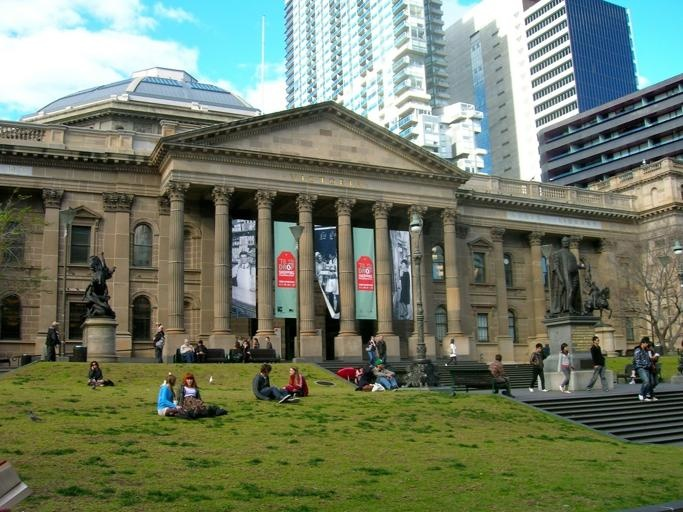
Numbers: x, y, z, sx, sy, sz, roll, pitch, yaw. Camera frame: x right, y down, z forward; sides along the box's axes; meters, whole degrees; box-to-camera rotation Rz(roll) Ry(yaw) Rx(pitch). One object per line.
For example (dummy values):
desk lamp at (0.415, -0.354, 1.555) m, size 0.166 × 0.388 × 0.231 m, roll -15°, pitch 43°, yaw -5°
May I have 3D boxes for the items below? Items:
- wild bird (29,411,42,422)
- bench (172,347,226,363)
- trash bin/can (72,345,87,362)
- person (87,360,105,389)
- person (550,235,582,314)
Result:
wild bird at (-9.394, 4.941, 22.311) m, size 0.676 × 0.302 × 0.159 m, roll 0°, pitch -7°, yaw 32°
bench at (-7.722, 5.624, 40.606) m, size 3.077 × 0.829 × 0.870 m, roll 4°, pitch 31°, yaw -11°
trash bin/can at (-13.143, 4.930, 36.625) m, size 0.633 × 0.742 × 0.487 m, roll 2°, pitch -11°, yaw -19°
person at (-10.158, 4.918, 30.126) m, size 0.602 × 1.063 × 1.093 m, roll 2°, pitch -10°, yaw -18°
person at (10.716, 1.213, 34.734) m, size 0.819 × 3.263 × 1.521 m, roll 7°, pitch -14°, yaw -40°
